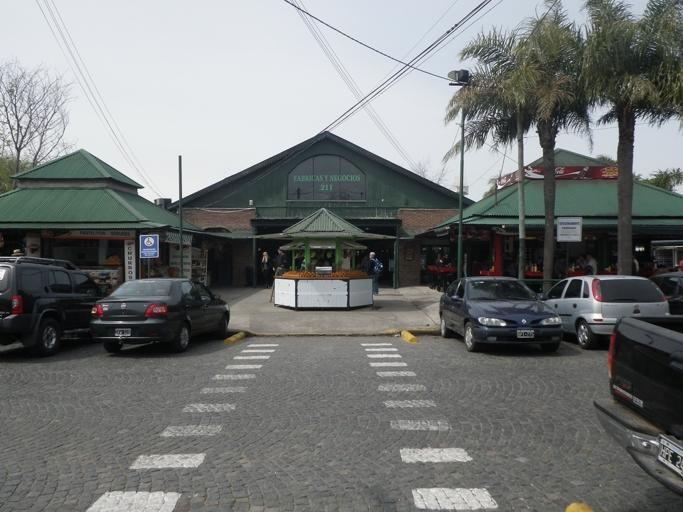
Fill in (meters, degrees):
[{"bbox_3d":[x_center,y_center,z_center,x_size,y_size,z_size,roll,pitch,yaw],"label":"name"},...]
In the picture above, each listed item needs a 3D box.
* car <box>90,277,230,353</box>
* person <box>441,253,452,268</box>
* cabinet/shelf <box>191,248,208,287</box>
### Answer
[{"bbox_3d":[-3.963,1.258,14.856,1.320,0.953,2.740,-1,0,9],"label":"car"},{"bbox_3d":[5.454,0.247,33.157,0.485,0.432,1.197,-13,-4,2],"label":"person"},{"bbox_3d":[-6.778,0.475,30.435,0.969,1.014,1.845,-1,12,-7],"label":"cabinet/shelf"}]
